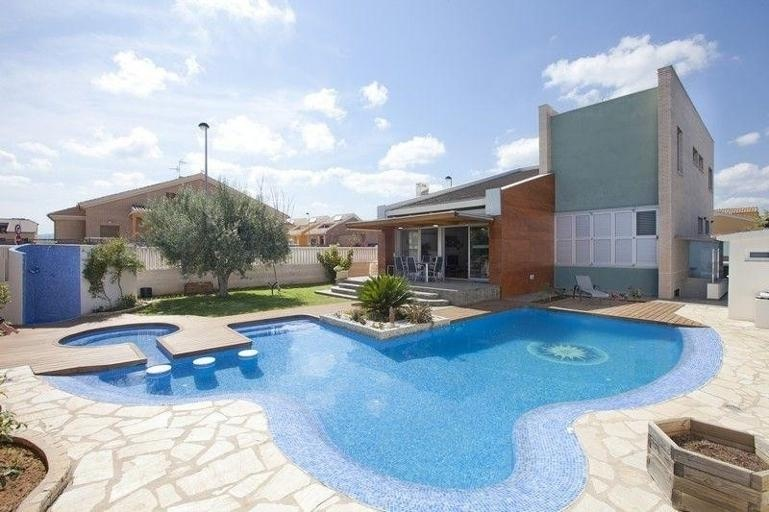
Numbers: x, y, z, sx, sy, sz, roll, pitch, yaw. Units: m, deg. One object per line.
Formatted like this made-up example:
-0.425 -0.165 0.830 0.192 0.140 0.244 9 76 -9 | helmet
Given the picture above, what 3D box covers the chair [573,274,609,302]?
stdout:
9.008 1.425 20.109 0.817 0.826 1.415 -2 2 -14 | chair
